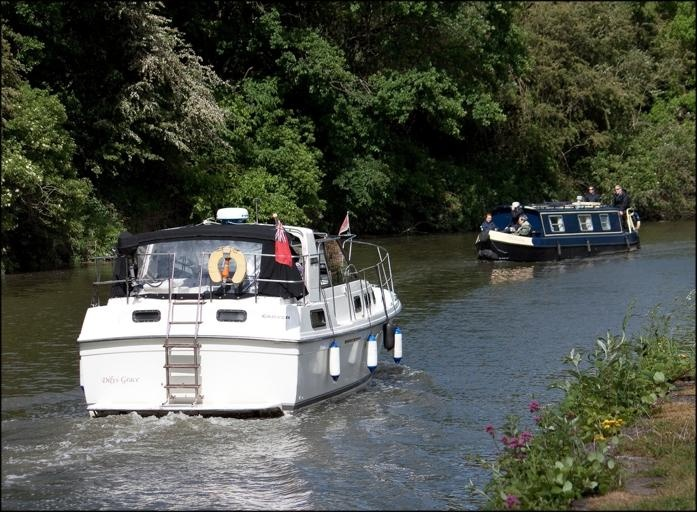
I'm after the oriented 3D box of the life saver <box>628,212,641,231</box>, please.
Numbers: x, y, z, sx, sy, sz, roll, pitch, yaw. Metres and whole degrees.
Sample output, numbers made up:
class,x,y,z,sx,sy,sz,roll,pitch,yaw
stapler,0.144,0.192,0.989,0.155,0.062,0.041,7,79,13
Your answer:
class,x,y,z,sx,sy,sz,roll,pitch,yaw
life saver,14.798,-1.807,55.306,0.748,0.598,1.235,9,24,20

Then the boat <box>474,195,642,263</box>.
class,x,y,z,sx,sy,sz,roll,pitch,yaw
boat,10.305,-1.070,51.301,3.203,2.665,9.833,-1,-1,41

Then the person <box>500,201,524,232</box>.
class,x,y,z,sx,sy,sz,roll,pitch,yaw
person,7.735,-1.853,50.073,1.063,1.333,1.262,13,31,40

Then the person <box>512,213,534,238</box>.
class,x,y,z,sx,sy,sz,roll,pitch,yaw
person,8.075,-1.406,49.273,0.813,1.076,0.528,6,-4,41

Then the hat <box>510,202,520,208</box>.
class,x,y,z,sx,sy,sz,roll,pitch,yaw
hat,7.782,-2.361,49.754,0.430,0.340,0.665,-7,4,10

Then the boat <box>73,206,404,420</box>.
class,x,y,z,sx,sy,sz,roll,pitch,yaw
boat,-1.643,1.173,26.414,4.114,2.889,7.901,1,5,20
